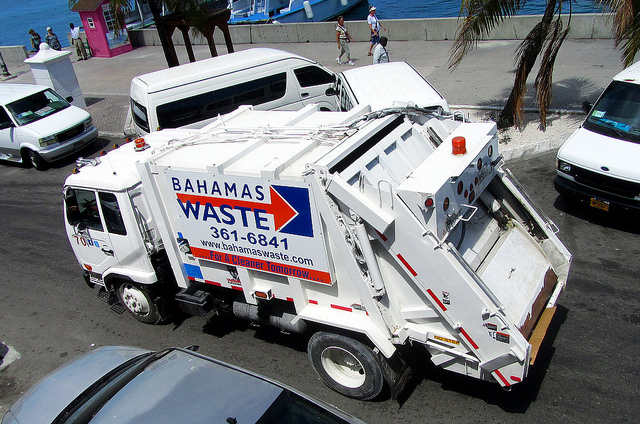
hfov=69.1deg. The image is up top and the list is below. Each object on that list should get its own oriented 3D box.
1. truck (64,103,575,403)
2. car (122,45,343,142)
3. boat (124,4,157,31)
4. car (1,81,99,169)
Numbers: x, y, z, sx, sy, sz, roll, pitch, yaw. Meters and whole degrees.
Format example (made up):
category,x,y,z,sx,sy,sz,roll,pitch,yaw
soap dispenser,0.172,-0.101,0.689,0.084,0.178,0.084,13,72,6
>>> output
category,x,y,z,sx,sy,sz,roll,pitch,yaw
truck,-0.382,0.386,8.867,8.914,4.504,3.483,10,31,24
car,-2.316,-3.535,14.706,6.396,3.187,2.934,-22,38,-20
boat,-13.256,-14.356,34.059,1.940,1.137,5.268,-14,37,-17
car,-10.240,-3.158,16.774,3.935,1.670,2.320,18,39,32
